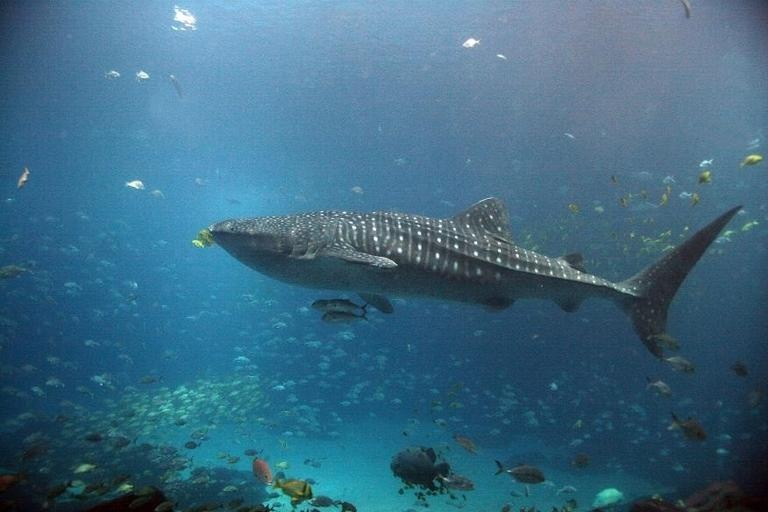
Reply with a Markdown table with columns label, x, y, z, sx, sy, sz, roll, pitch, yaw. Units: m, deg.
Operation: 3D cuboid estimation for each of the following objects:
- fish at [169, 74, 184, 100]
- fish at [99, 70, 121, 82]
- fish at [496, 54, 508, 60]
| label | x | y | z | sx | sy | sz | roll | pitch | yaw |
| --- | --- | --- | --- | --- | --- | --- | --- | --- | --- |
| fish | -12.047 | -9.623 | 37.289 | 0.714 | 1.422 | 1.759 | 0 | 33 | -17 |
| fish | -15.449 | -10.219 | 36.777 | 0.878 | 0.610 | 0.903 | -10 | 36 | -26 |
| fish | 6.841 | -11.497 | 37.368 | 0.594 | 0.303 | 0.217 | 14 | 36 | 11 |
